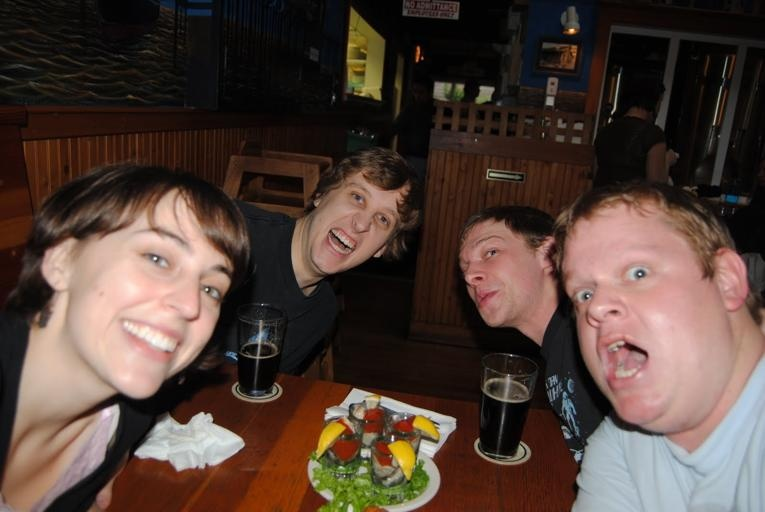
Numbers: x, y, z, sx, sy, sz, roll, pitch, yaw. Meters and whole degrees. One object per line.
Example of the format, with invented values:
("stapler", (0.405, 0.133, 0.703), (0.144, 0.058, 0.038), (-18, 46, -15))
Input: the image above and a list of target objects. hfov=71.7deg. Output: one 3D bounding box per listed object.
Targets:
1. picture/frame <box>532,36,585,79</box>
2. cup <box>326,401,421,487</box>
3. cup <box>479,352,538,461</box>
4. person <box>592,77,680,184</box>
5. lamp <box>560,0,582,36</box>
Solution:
("picture/frame", (2.252, -2.583, 6.800), (0.581, 0.405, 0.057), (4, 14, -4))
("cup", (-0.042, 0.607, 1.730), (0.272, 0.122, 0.191), (3, 26, 0))
("cup", (0.452, 0.553, 1.912), (0.237, 0.343, 0.226), (1, 22, 0))
("person", (2.199, -1.091, 4.646), (0.598, 0.968, 0.764), (8, 15, 17))
("lamp", (2.384, -2.988, 6.652), (0.288, 0.368, 0.284), (3, 15, 1))
